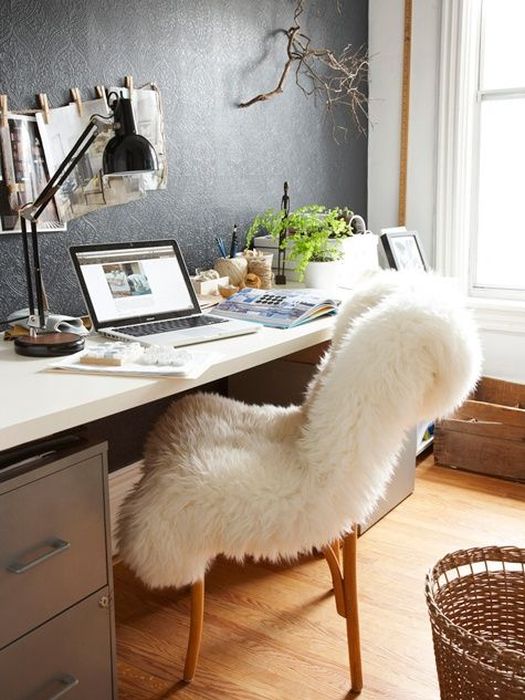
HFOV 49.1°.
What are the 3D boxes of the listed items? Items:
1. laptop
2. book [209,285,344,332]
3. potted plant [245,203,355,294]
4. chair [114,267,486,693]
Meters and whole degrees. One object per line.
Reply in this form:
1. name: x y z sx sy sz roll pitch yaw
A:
1. laptop: -0.236 -0.189 1.329 0.324 0.195 0.331 13 19 39
2. book: 0.024 -0.111 1.487 0.173 0.045 0.195 10 16 37
3. potted plant: 0.163 -0.393 1.955 0.347 0.205 0.345 9 20 32
4. chair: 0.097 0.173 1.412 0.953 0.964 0.661 -1 10 -1
